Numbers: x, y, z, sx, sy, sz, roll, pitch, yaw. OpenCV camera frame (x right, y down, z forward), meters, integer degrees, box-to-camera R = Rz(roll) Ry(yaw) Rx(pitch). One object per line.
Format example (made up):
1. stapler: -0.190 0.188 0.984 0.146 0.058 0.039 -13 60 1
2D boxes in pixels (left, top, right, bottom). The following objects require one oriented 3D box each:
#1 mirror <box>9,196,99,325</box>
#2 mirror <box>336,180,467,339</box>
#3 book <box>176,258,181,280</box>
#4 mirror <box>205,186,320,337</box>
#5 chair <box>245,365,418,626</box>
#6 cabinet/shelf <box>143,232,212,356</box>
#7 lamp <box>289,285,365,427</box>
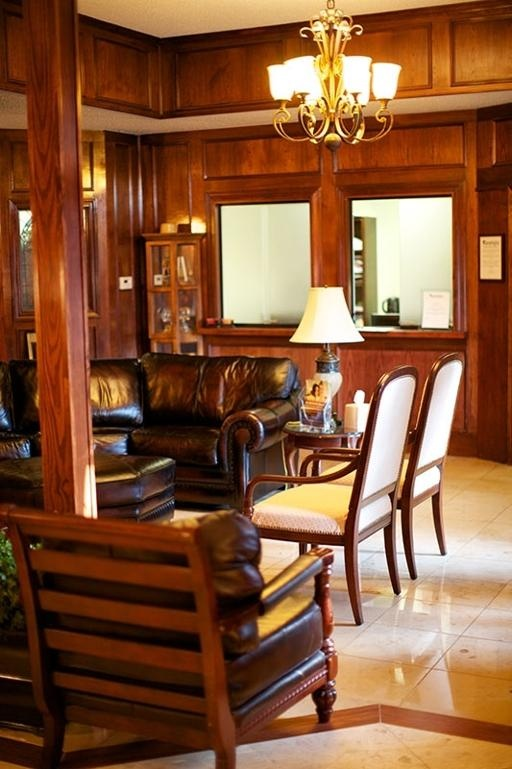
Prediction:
1. mirror: -2.309 -1.348 6.622 0.751 1.418 0.098 -1 10 15
2. mirror: 1.649 -1.398 6.992 1.053 1.746 1.864 -1 -1 -3
3. book: -0.846 -1.277 6.895 0.037 0.230 0.011 0 -1 -34
4. mirror: 0.098 -1.378 7.270 1.103 1.530 0.063 -2 32 -2
5. chair: 0.361 0.423 2.898 0.653 1.061 0.632 3 6 22
6. cabinet/shelf: -0.912 -0.866 7.065 0.582 1.595 0.336 -1 0 -1
7. lamp: 0.407 -0.135 3.578 0.408 0.785 0.396 -1 1 -42
